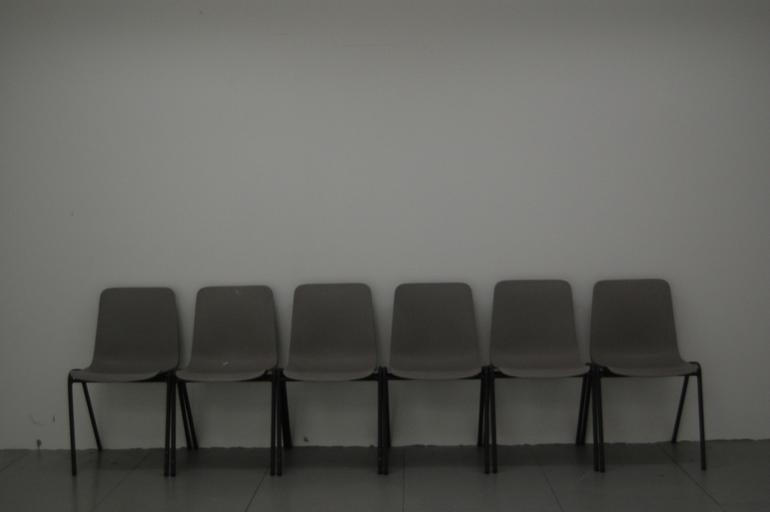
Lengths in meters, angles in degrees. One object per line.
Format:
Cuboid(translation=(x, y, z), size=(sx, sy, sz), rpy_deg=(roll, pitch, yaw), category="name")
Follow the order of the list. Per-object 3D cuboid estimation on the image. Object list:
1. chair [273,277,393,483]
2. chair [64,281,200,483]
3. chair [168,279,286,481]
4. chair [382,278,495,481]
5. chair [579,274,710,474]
Cuboid(translation=(-0.339, 0.820, 4.401), size=(0.733, 1.253, 0.447), rpy_deg=(1, 3, -1), category="chair")
Cuboid(translation=(-1.737, 0.820, 4.354), size=(0.727, 1.217, 0.750), rpy_deg=(-1, -3, 2), category="chair")
Cuboid(translation=(-1.095, 0.834, 4.389), size=(0.735, 1.248, 0.548), rpy_deg=(0, 3, -11), category="chair")
Cuboid(translation=(0.347, 0.827, 4.251), size=(0.869, 1.237, 0.932), rpy_deg=(-2, 1, -15), category="chair")
Cuboid(translation=(1.782, 0.797, 4.364), size=(0.800, 1.267, 0.424), rpy_deg=(1, 3, -1), category="chair")
